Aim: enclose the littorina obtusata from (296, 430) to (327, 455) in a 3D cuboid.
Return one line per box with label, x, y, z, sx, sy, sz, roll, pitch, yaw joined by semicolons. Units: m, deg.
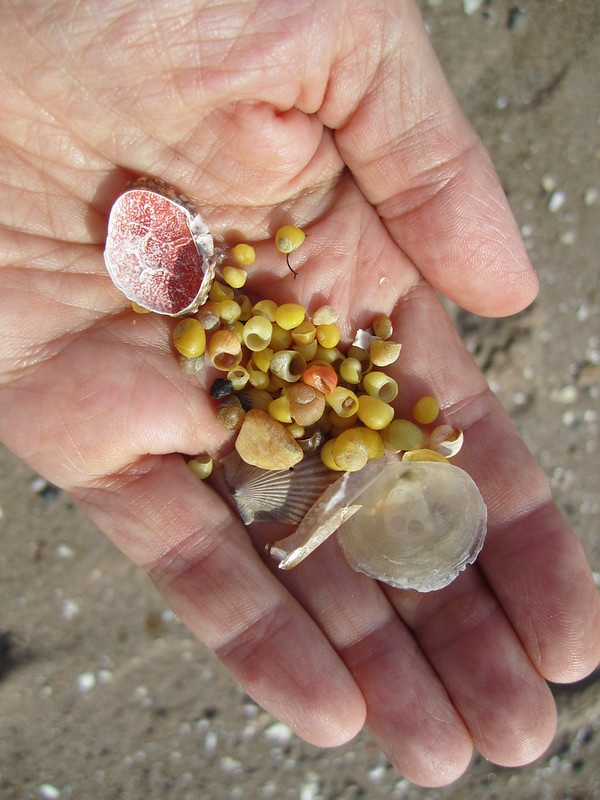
littorina obtusata;0.066;0.217;4.206;0.140;0.168;0.107;-18;83;1
